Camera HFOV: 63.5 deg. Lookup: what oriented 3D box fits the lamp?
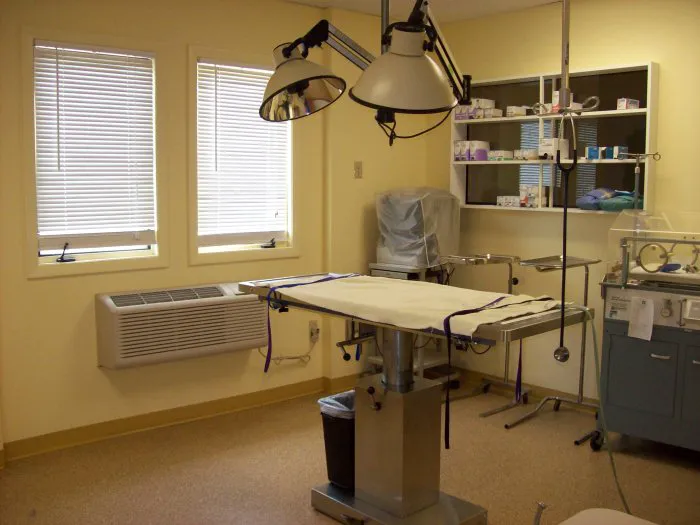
[{"bbox_3d":[0.067,-0.914,2.664,0.901,0.697,0.541,6,12,29],"label":"lamp"}]
